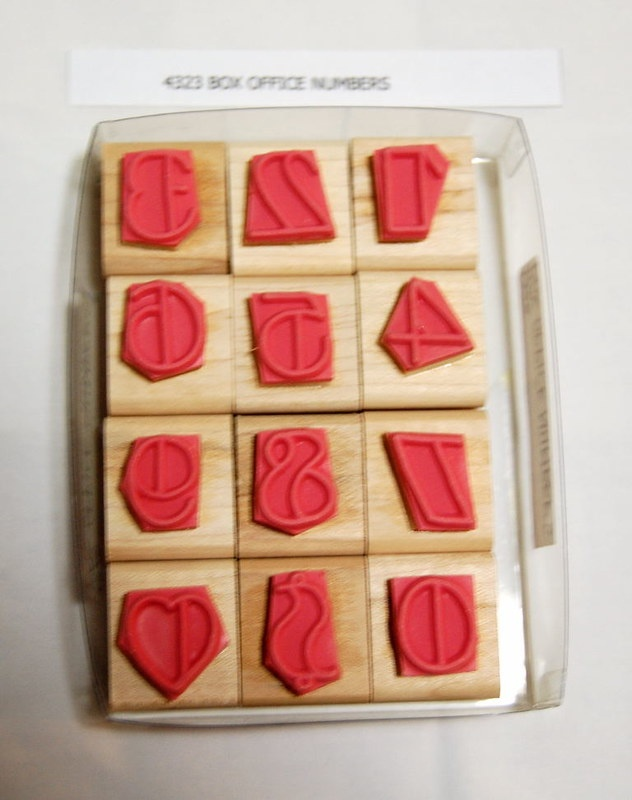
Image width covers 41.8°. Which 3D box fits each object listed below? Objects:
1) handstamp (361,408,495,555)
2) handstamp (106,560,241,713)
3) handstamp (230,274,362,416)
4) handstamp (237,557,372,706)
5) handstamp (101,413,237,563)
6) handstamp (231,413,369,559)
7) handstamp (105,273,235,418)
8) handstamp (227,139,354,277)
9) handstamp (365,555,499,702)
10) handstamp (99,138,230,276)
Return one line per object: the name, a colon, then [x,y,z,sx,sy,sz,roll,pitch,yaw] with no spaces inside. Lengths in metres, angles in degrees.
handstamp: [0.121,0.088,0.911,0.138,0.075,0.149,-1,62,-6]
handstamp: [-0.152,0.250,0.887,0.137,0.073,0.147,-1,62,-6]
handstamp: [-0.029,-0.059,0.912,0.133,0.040,0.117,-19,110,-32]
handstamp: [-0.010,0.240,0.911,0.163,0.050,0.138,-1,87,-4]
handstamp: [-0.157,0.087,0.879,0.169,0.047,0.144,-1,87,-2]
handstamp: [-0.015,0.089,0.889,0.157,0.050,0.137,-2,88,-4]
handstamp: [-0.158,-0.048,0.866,0.161,0.050,0.142,-2,86,-2]
handstamp: [-0.029,-0.220,0.937,0.139,0.072,0.149,-1,62,-7]
handstamp: [0.123,0.242,0.885,0.179,0.050,0.144,-3,87,-6]
handstamp: [-0.159,-0.226,0.939,0.162,0.050,0.135,2,90,19]
